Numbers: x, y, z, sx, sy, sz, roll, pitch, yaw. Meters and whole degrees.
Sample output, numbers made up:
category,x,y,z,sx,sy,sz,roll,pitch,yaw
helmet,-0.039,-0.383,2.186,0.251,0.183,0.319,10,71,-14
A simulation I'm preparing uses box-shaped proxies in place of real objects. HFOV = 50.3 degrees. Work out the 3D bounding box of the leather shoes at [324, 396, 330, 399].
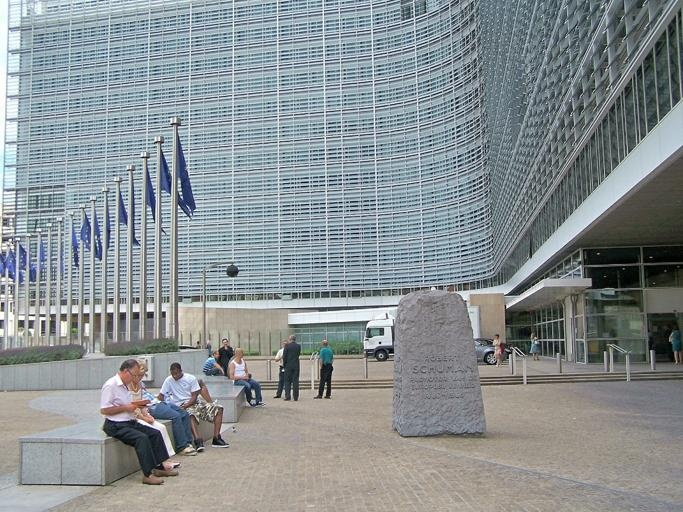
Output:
category,x,y,z,sx,sy,sz,roll,pitch,yaw
leather shoes,-0.424,4.900,25.285,0.193,0.078,0.323,8,-7,-2

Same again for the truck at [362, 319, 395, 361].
category,x,y,z,sx,sy,sz,roll,pitch,yaw
truck,2.637,5.666,49.741,2.898,2.002,1.826,1,-8,1
